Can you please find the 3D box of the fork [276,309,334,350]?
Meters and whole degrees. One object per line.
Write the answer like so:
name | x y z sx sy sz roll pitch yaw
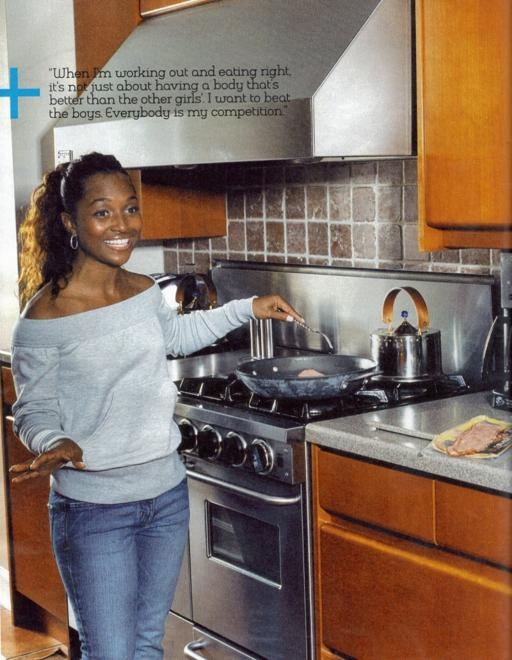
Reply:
fork | 0.165 -0.001 2.004 0.030 0.032 0.240 -18 40 -41
